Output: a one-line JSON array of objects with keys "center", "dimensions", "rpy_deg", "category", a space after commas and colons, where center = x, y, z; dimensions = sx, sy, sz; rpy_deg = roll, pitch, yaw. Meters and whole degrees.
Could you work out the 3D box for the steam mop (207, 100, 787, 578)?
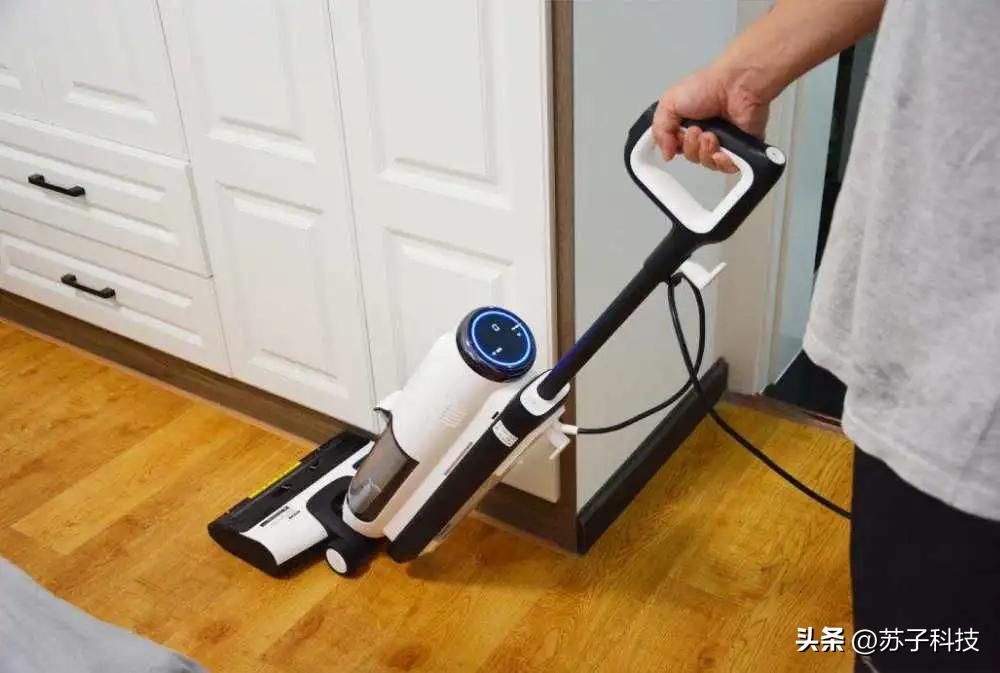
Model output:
[{"center": [-0.029, 0.016, 1.715], "dimensions": [0.662, 1.244, 0.627], "rpy_deg": [32, 23, 14], "category": "steam mop"}]
